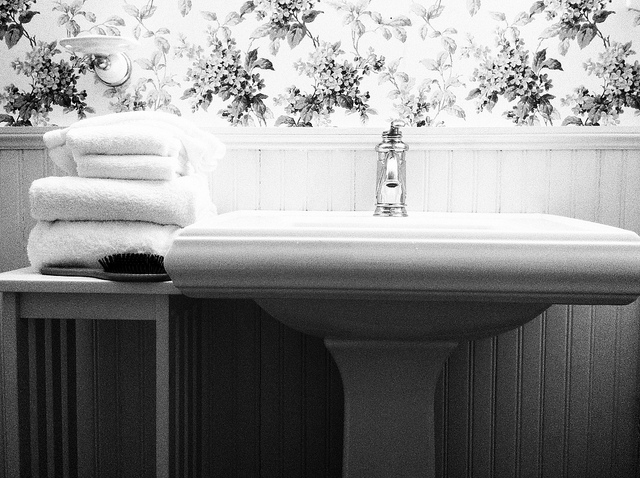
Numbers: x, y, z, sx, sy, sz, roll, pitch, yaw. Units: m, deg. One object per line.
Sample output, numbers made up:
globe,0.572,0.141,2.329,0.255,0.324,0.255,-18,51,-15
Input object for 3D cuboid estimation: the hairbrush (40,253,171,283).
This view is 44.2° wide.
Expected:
hairbrush,-0.479,0.064,1.719,0.254,0.053,0.095,-1,-1,8
